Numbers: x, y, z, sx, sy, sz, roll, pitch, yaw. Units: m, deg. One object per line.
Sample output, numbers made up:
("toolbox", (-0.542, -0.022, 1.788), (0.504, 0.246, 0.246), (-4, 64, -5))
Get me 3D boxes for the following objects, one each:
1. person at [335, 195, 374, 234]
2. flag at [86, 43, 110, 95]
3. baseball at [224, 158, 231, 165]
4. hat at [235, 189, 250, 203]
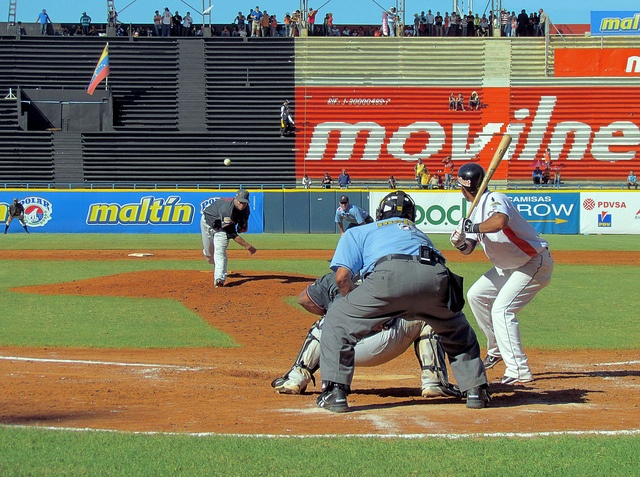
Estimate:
("person", (1.112, -0.733, 45.517), (1.136, 1.437, 1.435), (1, 11, 32))
("flag", (-10.127, -7.758, 62.620), (0.907, 2.240, 2.036), (0, 4, -10))
("baseball", (-4.219, -3.534, 62.425), (0.293, 0.275, 0.207), (-9, 13, -36))
("hat", (-2.480, -1.388, 43.901), (0.354, 0.427, 0.440), (0, 4, -13))
